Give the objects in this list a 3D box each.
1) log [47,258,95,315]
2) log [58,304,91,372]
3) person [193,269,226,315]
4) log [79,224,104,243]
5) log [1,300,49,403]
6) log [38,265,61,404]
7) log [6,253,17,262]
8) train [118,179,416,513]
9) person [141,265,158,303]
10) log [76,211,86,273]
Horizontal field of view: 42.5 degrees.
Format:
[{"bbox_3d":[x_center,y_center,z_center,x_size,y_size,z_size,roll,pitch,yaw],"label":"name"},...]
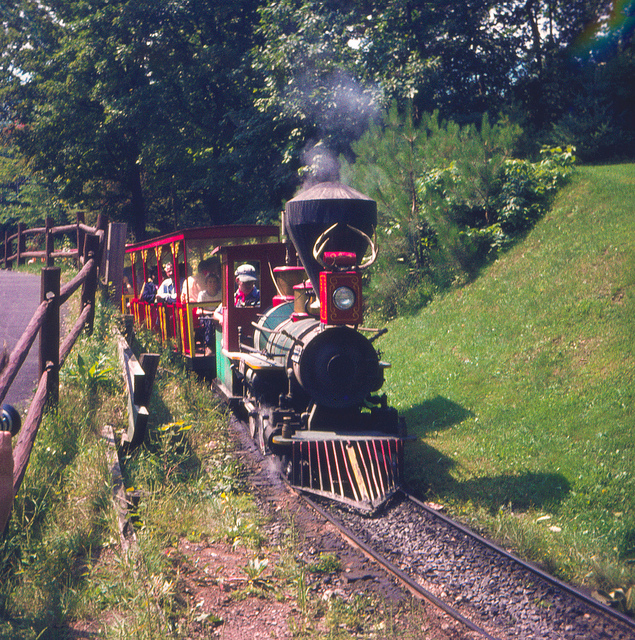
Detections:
[{"bbox_3d":[-3.129,-0.584,10.386,0.254,0.380,3.020,6,11,-7],"label":"log"},{"bbox_3d":[-3.150,0.176,10.720,0.178,0.221,2.192,9,25,-11],"label":"log"},{"bbox_3d":[-1.985,-0.481,14.973,0.418,1.299,0.352,5,-15,-1],"label":"person"},{"bbox_3d":[-3.757,-1.468,13.585,0.421,0.249,0.700,10,5,-33],"label":"log"},{"bbox_3d":[-2.958,0.282,8.255,0.174,0.242,1.919,3,23,-7],"label":"log"},{"bbox_3d":[-3.051,0.189,9.299,0.247,1.909,0.280,-32,-41,23],"label":"log"},{"bbox_3d":[-7.754,-1.557,20.627,0.274,0.108,0.299,-2,0,-33],"label":"log"},{"bbox_3d":[-0.989,0.082,13.813,2.093,5.334,11.392,-1,5,-11],"label":"train"},{"bbox_3d":[-3.939,-0.817,19.074,0.223,1.109,0.343,3,9,-3],"label":"person"},{"bbox_3d":[-4.105,-1.309,14.152,0.089,1.131,0.154,0,-14,-21],"label":"log"}]
